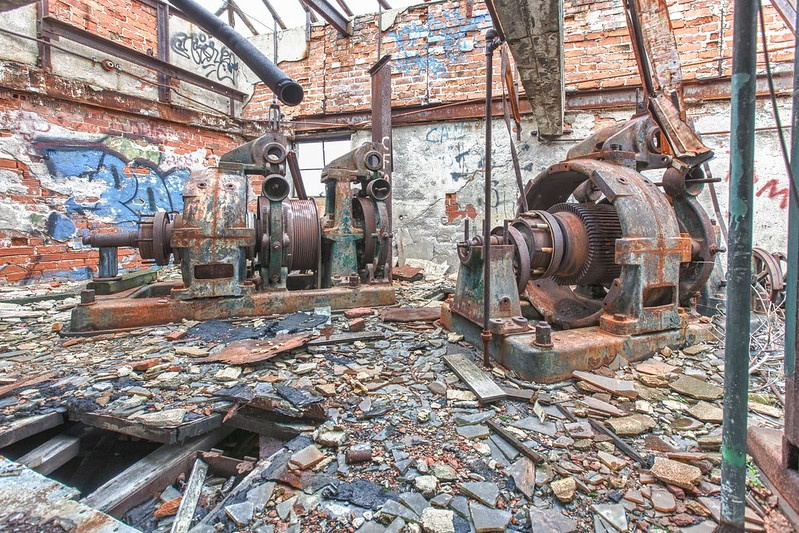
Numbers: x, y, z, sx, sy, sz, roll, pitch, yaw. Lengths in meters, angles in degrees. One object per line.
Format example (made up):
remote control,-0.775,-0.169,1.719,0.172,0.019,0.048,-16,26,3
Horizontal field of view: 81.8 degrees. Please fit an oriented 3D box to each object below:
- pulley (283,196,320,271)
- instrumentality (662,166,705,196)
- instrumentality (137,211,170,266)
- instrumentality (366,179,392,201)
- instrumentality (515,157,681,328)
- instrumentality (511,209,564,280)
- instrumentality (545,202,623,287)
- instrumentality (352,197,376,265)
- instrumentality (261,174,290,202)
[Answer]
pulley,-1.199,-0.389,5.514,0.539,0.896,0.432,-5,5,-36
instrumentality,2.899,-0.872,4.692,0.219,0.201,0.327,16,8,-7
instrumentality,-2.633,-0.306,5.042,0.499,0.593,0.272,-1,4,13
instrumentality,-0.264,-0.956,5.752,0.290,0.270,0.161,-2,4,-6
instrumentality,2.036,-0.280,4.880,0.921,1.607,1.711,-3,7,-23
instrumentality,1.327,-0.195,4.414,0.383,0.678,0.709,-2,1,-16
instrumentality,1.921,-0.232,4.769,0.919,0.744,0.860,-2,2,29
instrumentality,-0.424,-0.444,5.823,0.210,0.872,0.441,-3,5,-18
instrumentality,-1.444,-0.919,5.342,0.301,0.335,0.201,-3,4,-18
